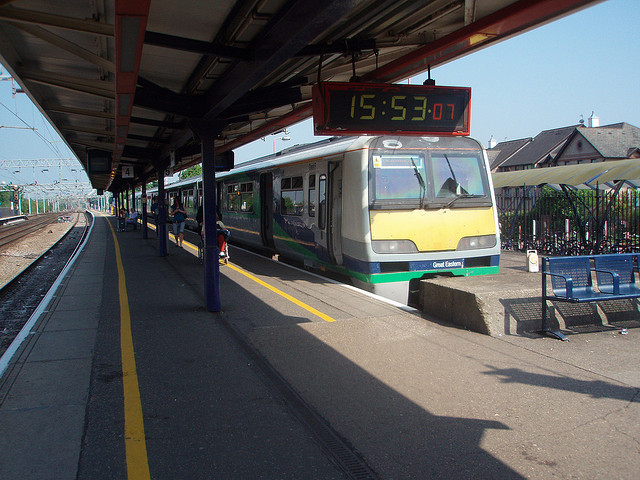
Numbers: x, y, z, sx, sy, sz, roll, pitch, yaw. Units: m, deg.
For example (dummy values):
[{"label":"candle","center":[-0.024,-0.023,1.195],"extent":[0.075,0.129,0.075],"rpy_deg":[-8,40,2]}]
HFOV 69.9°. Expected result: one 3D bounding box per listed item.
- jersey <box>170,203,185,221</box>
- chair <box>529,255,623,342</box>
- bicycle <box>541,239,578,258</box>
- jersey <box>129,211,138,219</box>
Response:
[{"label":"jersey","center":[-5.930,-1.106,19.131],"extent":[0.590,0.973,0.967],"rpy_deg":[1,-7,-12]},{"label":"chair","center":[4.515,0.917,7.385],"extent":[1.936,1.330,0.778],"rpy_deg":[0,-1,-12]},{"label":"bicycle","center":[8.154,0.269,15.535],"extent":[1.176,0.658,0.591],"rpy_deg":[1,3,43]},{"label":"jersey","center":[-12.962,-1.783,31.790],"extent":[0.496,0.560,0.297],"rpy_deg":[-20,-22,11]}]
